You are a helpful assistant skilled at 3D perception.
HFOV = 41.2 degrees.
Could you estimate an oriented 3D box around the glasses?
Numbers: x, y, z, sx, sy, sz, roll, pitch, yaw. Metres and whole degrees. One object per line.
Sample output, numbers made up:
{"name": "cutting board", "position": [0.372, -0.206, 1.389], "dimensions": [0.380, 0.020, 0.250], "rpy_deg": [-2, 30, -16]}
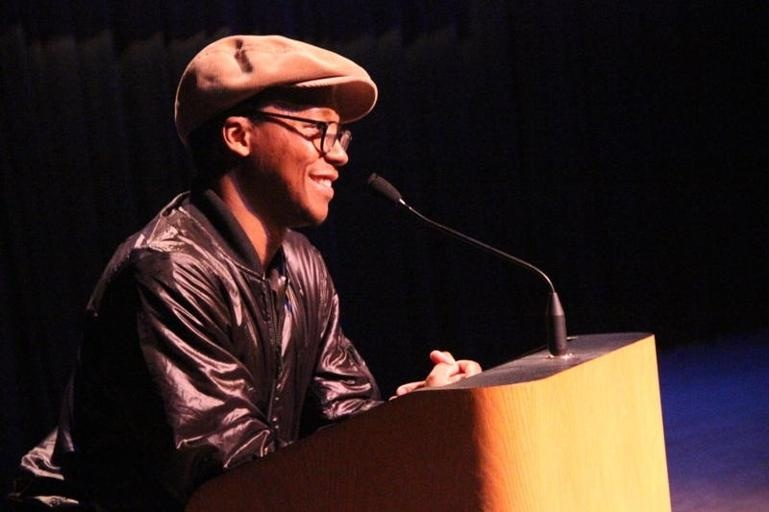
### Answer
{"name": "glasses", "position": [-0.271, -0.450, 3.650], "dimensions": [0.210, 0.064, 0.210], "rpy_deg": [12, -7, 3]}

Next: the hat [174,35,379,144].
{"name": "hat", "position": [-0.415, -0.554, 3.718], "dimensions": [0.620, 0.289, 0.429], "rpy_deg": [-15, -1, 0]}
